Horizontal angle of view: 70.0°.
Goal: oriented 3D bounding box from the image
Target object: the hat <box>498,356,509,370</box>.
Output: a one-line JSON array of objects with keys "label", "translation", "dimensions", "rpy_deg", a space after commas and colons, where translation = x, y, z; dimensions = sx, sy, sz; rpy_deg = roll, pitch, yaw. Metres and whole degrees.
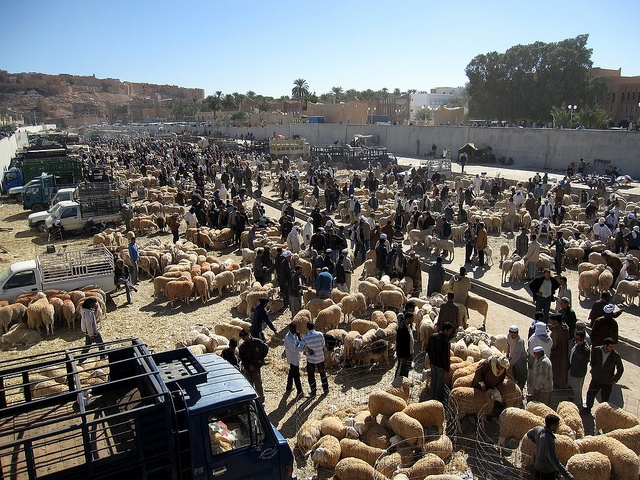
[{"label": "hat", "translation": [3.501, 2.367, 8.740], "dimensions": [0.172, 0.270, 0.272], "rpy_deg": [9, 16, 38]}]

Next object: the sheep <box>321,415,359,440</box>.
[{"label": "sheep", "translation": [0.372, 3.434, 8.459], "dimensions": [0.576, 0.305, 0.321], "rpy_deg": [18, 50, -1]}]

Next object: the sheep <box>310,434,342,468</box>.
[{"label": "sheep", "translation": [0.098, 3.806, 8.158], "dimensions": [0.530, 0.467, 0.380], "rpy_deg": [-2, 13, -2]}]

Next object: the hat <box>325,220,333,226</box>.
[{"label": "hat", "translation": [0.315, -0.627, 16.996], "dimensions": [0.173, 0.223, 0.351], "rpy_deg": [-3, -1, 1]}]

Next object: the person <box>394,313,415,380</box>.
[{"label": "person", "translation": [1.801, 2.300, 9.785], "dimensions": [0.328, 1.504, 0.593], "rpy_deg": [1, 13, 10]}]

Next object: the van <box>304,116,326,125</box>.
[{"label": "van", "translation": [-0.754, -18.767, 71.463], "dimensions": [3.582, 2.071, 2.823], "rpy_deg": [-4, 24, -6]}]

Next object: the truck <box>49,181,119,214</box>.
[{"label": "truck", "translation": [-11.280, -2.071, 22.587], "dimensions": [2.211, 1.140, 2.127], "rpy_deg": [-5, 24, -22]}]

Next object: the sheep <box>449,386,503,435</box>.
[{"label": "sheep", "translation": [3.003, 3.286, 8.917], "dimensions": [0.974, 0.821, 0.397], "rpy_deg": [0, 12, 4]}]

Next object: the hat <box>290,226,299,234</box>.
[{"label": "hat", "translation": [-0.921, -0.339, 16.986], "dimensions": [0.277, 0.296, 0.258], "rpy_deg": [-33, 47, -28]}]

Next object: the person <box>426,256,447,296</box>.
[{"label": "person", "translation": [3.326, 1.032, 13.207], "dimensions": [0.452, 1.248, 0.732], "rpy_deg": [3, 13, 19]}]

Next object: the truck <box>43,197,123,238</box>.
[{"label": "truck", "translation": [-11.638, -1.157, 22.543], "dimensions": [3.046, 1.504, 1.612], "rpy_deg": [-9, 22, -27]}]

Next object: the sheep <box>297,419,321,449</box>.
[{"label": "sheep", "translation": [-0.204, 3.637, 8.610], "dimensions": [0.267, 0.345, 0.578], "rpy_deg": [0, 18, 15]}]

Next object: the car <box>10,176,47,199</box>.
[{"label": "car", "translation": [-17.691, -3.184, 27.717], "dimensions": [2.209, 1.182, 1.246], "rpy_deg": [-8, 23, -15]}]

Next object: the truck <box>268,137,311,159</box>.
[{"label": "truck", "translation": [-3.371, -9.815, 48.663], "dimensions": [3.360, 1.857, 2.584], "rpy_deg": [-2, 20, -5]}]

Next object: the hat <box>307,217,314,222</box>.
[{"label": "hat", "translation": [-0.399, -0.816, 18.217], "dimensions": [0.190, 0.216, 0.161], "rpy_deg": [6, 8, -26]}]

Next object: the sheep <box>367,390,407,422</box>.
[{"label": "sheep", "translation": [1.211, 3.167, 8.727], "dimensions": [0.729, 0.543, 0.366], "rpy_deg": [-1, 31, -16]}]

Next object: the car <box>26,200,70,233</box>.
[{"label": "car", "translation": [-13.938, -1.168, 22.710], "dimensions": [2.362, 1.155, 1.346], "rpy_deg": [-2, 18, -17]}]

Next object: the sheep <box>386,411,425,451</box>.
[{"label": "sheep", "translation": [1.559, 3.406, 8.255], "dimensions": [0.364, 0.407, 0.685], "rpy_deg": [-9, 15, -31]}]

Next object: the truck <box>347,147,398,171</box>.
[{"label": "truck", "translation": [4.254, -6.519, 39.670], "dimensions": [3.133, 1.689, 2.605], "rpy_deg": [-4, 16, -11]}]

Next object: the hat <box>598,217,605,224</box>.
[{"label": "hat", "translation": [10.693, -0.731, 17.389], "dimensions": [0.228, 0.359, 0.089], "rpy_deg": [-1, -12, 13]}]

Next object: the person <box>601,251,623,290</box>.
[{"label": "person", "translation": [9.244, 0.919, 14.506], "dimensions": [0.574, 1.117, 0.831], "rpy_deg": [7, 15, 33]}]

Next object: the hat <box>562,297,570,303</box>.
[{"label": "hat", "translation": [5.610, 1.370, 10.449], "dimensions": [0.228, 0.075, 0.147], "rpy_deg": [18, 14, 32]}]

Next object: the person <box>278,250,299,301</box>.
[{"label": "person", "translation": [-0.990, 1.115, 13.804], "dimensions": [0.480, 1.615, 0.558], "rpy_deg": [-10, 41, -17]}]

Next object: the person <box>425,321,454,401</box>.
[{"label": "person", "translation": [2.386, 2.467, 9.221], "dimensions": [0.461, 1.715, 0.370], "rpy_deg": [2, 13, 16]}]

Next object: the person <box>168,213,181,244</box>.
[{"label": "person", "translation": [-6.535, -0.489, 20.403], "dimensions": [0.494, 1.515, 0.498], "rpy_deg": [-10, 50, -12]}]

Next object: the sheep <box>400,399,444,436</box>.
[{"label": "sheep", "translation": [1.852, 3.246, 8.486], "dimensions": [0.834, 0.625, 0.425], "rpy_deg": [6, 3, 14]}]

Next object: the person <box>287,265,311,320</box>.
[{"label": "person", "translation": [-0.628, 1.532, 13.108], "dimensions": [0.540, 1.501, 0.590], "rpy_deg": [-5, 51, -6]}]
